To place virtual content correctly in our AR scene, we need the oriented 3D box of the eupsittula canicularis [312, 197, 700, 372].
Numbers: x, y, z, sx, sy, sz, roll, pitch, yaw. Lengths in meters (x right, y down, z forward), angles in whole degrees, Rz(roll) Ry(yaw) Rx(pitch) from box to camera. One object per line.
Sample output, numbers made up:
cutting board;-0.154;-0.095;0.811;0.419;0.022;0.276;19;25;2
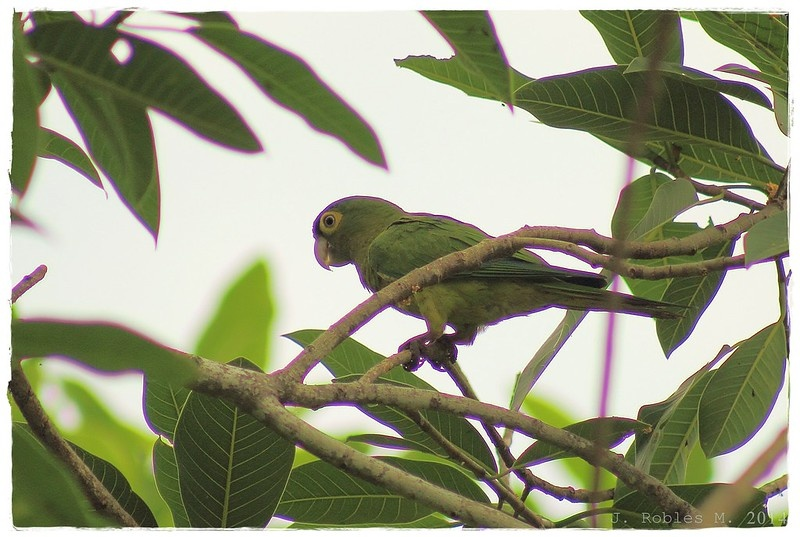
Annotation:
eupsittula canicularis;0.149;-0.006;2.233;0.689;0.319;0.207;-4;-16;24
